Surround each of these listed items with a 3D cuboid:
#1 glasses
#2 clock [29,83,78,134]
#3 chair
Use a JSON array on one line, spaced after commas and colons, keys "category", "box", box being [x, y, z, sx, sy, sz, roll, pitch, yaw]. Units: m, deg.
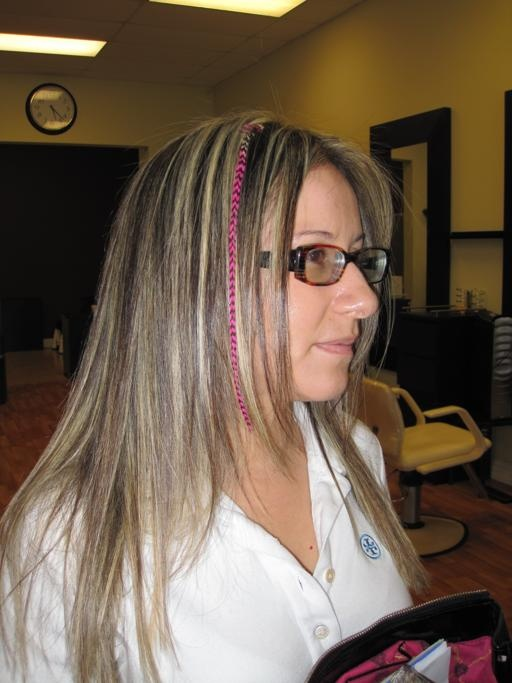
[{"category": "glasses", "box": [0.084, -0.100, 0.710, 0.148, 0.045, 0.147, -7, 10, -27]}, {"category": "clock", "box": [-2.386, -2.697, 6.093, 0.536, 0.575, 0.066, -21, -18, -11]}, {"category": "chair", "box": [0.860, 0.592, 2.843, 0.695, 0.843, 0.667, -3, 4, 7]}]
